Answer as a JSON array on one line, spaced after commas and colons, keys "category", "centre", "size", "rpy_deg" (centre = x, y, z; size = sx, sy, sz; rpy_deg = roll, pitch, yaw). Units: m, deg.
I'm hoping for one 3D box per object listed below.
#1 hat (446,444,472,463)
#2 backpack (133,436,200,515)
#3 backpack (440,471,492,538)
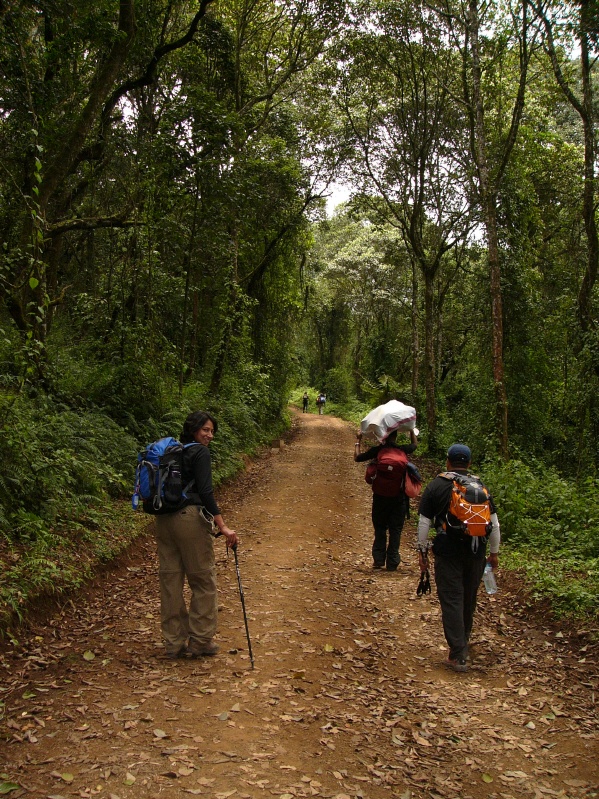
[{"category": "hat", "centre": [1.440, 0.460, 6.264], "size": [0.149, 0.115, 0.201], "rpy_deg": [5, 12, 8]}, {"category": "backpack", "centre": [-1.116, 0.623, 5.782], "size": [0.497, 0.633, 0.526], "rpy_deg": [9, -12, -32]}, {"category": "backpack", "centre": [1.451, 0.907, 6.114], "size": [0.406, 0.530, 0.530], "rpy_deg": [2, -2, -17]}]
